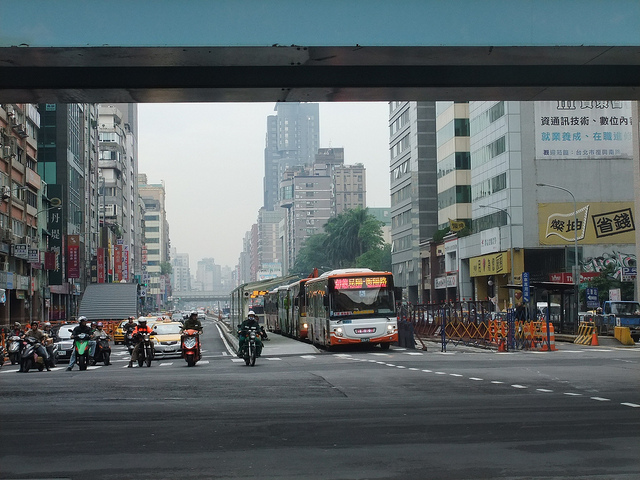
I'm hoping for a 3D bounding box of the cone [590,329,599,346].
[{"bbox_3d":[12.467,4.339,44.904,0.279,0.777,1.151,-3,-8,15],"label":"cone"}]

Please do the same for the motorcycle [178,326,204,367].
[{"bbox_3d":[-4.493,3.627,34.123,0.679,1.384,1.243,0,-7,-7],"label":"motorcycle"}]

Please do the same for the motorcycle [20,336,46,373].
[{"bbox_3d":[-10.083,3.881,34.962,0.560,1.205,2.055,3,1,9],"label":"motorcycle"}]

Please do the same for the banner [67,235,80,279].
[{"bbox_3d":[-21.625,1.265,86.450,1.180,3.825,0.373,1,2,10],"label":"banner"}]

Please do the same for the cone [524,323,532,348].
[{"bbox_3d":[8.597,3.891,40.984,0.264,0.971,0.598,-2,-7,6],"label":"cone"}]

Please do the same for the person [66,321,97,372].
[{"bbox_3d":[-8.295,3.408,33.898,0.855,1.954,0.790,-1,0,-7],"label":"person"}]

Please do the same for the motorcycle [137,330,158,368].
[{"bbox_3d":[-6.185,3.766,34.734,0.518,1.308,1.236,0,-7,-10],"label":"motorcycle"}]

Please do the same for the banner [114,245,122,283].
[{"bbox_3d":[-25.362,2.684,123.092,0.898,4.304,1.394,2,-7,-21],"label":"banner"}]

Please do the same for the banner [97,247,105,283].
[{"bbox_3d":[-24.426,2.641,109.351,0.749,3.447,3.697,1,-8,-15],"label":"banner"}]

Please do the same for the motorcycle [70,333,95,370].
[{"bbox_3d":[-8.316,3.741,34.398,0.651,1.333,2.190,-1,2,-11],"label":"motorcycle"}]

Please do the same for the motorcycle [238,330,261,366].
[{"bbox_3d":[-2.405,3.569,33.449,0.434,1.199,0.945,3,-8,-30],"label":"motorcycle"}]

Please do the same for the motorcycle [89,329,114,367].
[{"bbox_3d":[-8.395,3.950,37.365,0.899,1.175,1.902,-2,3,-31],"label":"motorcycle"}]

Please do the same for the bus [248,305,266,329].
[{"bbox_3d":[-4.778,5.356,73.620,1.287,1.720,3.503,0,-7,-14],"label":"bus"}]

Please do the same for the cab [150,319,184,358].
[{"bbox_3d":[-6.363,4.021,40.892,1.156,1.159,2.511,0,-10,-11],"label":"cab"}]
